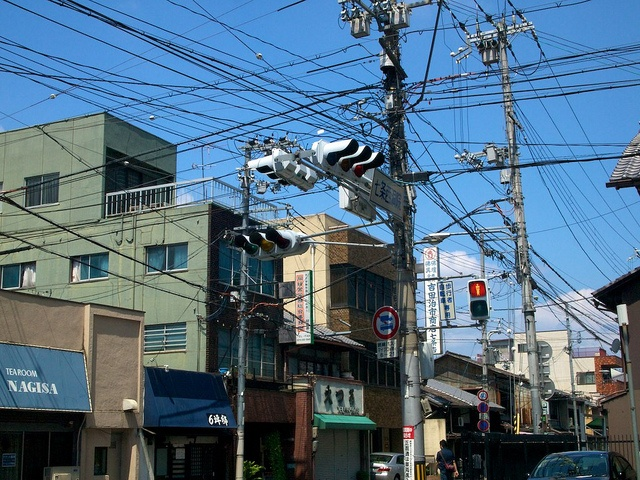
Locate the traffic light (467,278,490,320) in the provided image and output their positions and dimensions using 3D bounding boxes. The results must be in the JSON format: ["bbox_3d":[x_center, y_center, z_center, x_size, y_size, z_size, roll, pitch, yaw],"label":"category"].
[{"bbox_3d":[5.360,1.967,35.561,0.630,1.363,0.539,-6,-20,10],"label":"traffic light"}]
